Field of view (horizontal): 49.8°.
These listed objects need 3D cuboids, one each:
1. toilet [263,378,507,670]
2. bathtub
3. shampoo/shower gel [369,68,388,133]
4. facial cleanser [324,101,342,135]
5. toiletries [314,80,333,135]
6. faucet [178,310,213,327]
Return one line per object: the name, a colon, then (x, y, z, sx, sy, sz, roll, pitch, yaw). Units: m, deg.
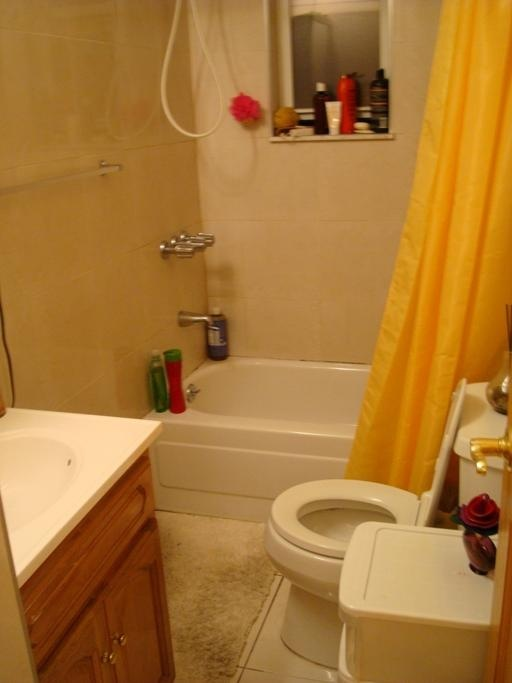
toilet: (0.301, 0.447, 1.834, 0.722, 1.083, 0.522, 5, 18, 12)
bathtub: (0.011, 0.407, 2.428, 0.801, 0.380, 0.615, 3, 16, 14)
shampoo/shower gel: (0.523, -1.034, 2.338, 0.069, 0.225, 0.215, 0, 16, 6)
facial cleanser: (0.331, -0.961, 2.367, 0.065, 0.134, 0.052, 2, 20, 7)
toiletries: (0.289, -1.033, 2.436, 0.072, 0.203, 0.077, 10, 27, 29)
faucet: (-0.282, -0.101, 2.502, 0.115, 0.060, 0.069, -1, 21, -13)
